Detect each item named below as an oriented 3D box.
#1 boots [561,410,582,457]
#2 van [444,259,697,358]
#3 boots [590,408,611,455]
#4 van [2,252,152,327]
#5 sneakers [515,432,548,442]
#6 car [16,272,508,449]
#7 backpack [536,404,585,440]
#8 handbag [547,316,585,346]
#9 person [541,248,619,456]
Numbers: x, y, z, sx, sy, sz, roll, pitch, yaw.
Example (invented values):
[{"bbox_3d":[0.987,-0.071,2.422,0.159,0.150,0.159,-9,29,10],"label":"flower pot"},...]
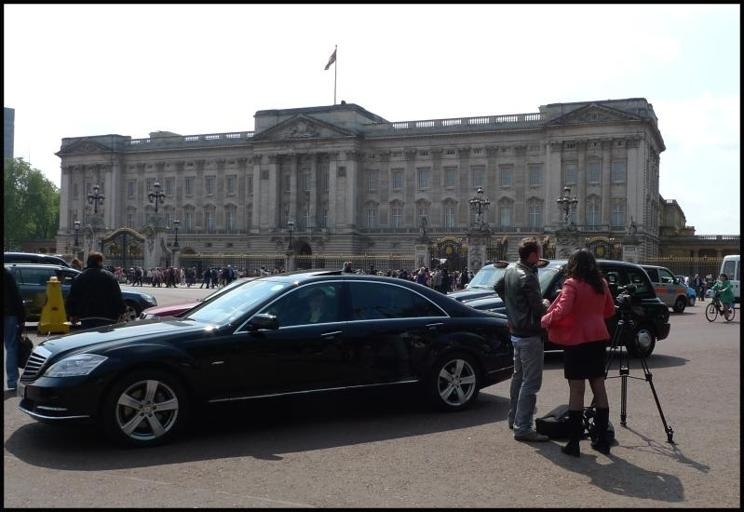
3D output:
[{"bbox_3d":[2.549,2.216,9.954,0.242,0.558,0.281,1,3,14],"label":"boots"},{"bbox_3d":[4.204,1.126,16.269,4.688,1.693,2.085,3,-5,-20],"label":"van"},{"bbox_3d":[2.964,2.197,10.095,0.257,0.581,0.370,1,3,16],"label":"boots"},{"bbox_3d":[-6.858,0.701,20.334,4.814,1.632,2.016,1,0,-22],"label":"van"},{"bbox_3d":[2.092,2.372,10.328,0.417,0.165,0.153,-1,3,-2],"label":"sneakers"},{"bbox_3d":[-1.252,1.321,11.426,6.238,1.799,2.560,2,-5,-21],"label":"car"},{"bbox_3d":[2.445,2.229,10.467,0.462,0.202,0.556,1,1,45],"label":"backpack"},{"bbox_3d":[2.491,0.975,10.192,0.376,0.369,0.280,4,-6,13],"label":"handbag"},{"bbox_3d":[2.651,1.206,10.037,0.858,2.565,0.591,1,3,13],"label":"person"}]
